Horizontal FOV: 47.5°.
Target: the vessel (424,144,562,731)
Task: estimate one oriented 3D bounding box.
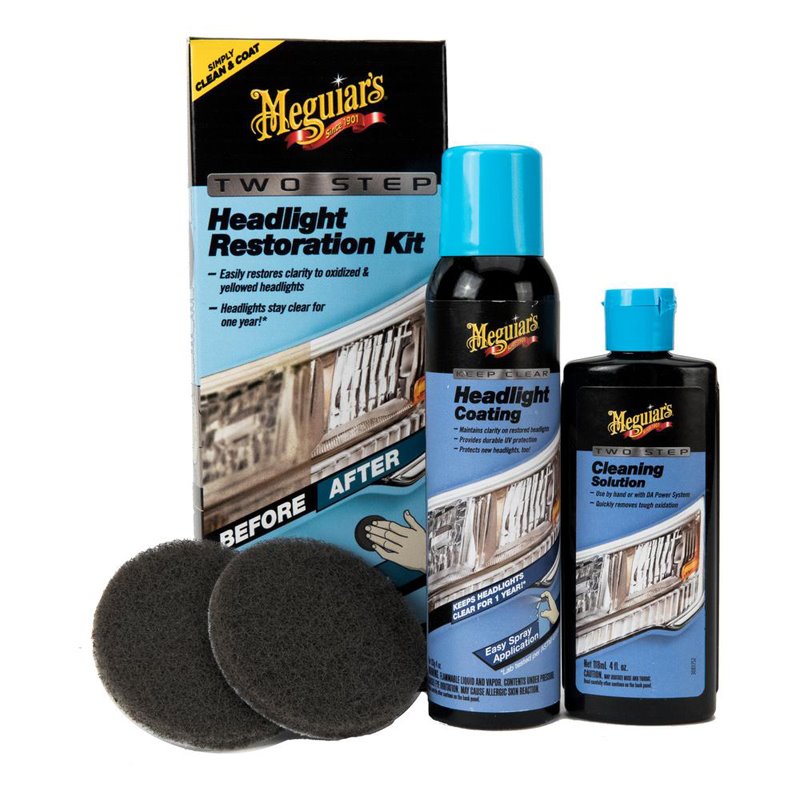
[{"bbox_3d":[0.134,0.060,1.348,0.201,0.855,0.213,-2,13,8],"label":"vessel"}]

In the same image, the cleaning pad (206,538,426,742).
[{"bbox_3d":[-0.119,0.366,1.412,0.334,0.253,0.204,-6,13,-17],"label":"cleaning pad"}]
